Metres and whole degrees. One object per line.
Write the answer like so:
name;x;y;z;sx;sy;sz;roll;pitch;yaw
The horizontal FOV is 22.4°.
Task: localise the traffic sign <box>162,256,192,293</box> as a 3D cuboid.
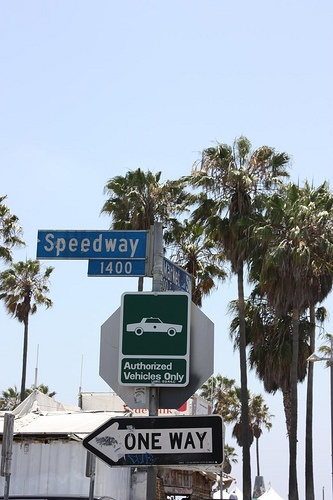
traffic sign;0.076;0.227;6.680;0.007;0.248;0.337;-9;23;-42
